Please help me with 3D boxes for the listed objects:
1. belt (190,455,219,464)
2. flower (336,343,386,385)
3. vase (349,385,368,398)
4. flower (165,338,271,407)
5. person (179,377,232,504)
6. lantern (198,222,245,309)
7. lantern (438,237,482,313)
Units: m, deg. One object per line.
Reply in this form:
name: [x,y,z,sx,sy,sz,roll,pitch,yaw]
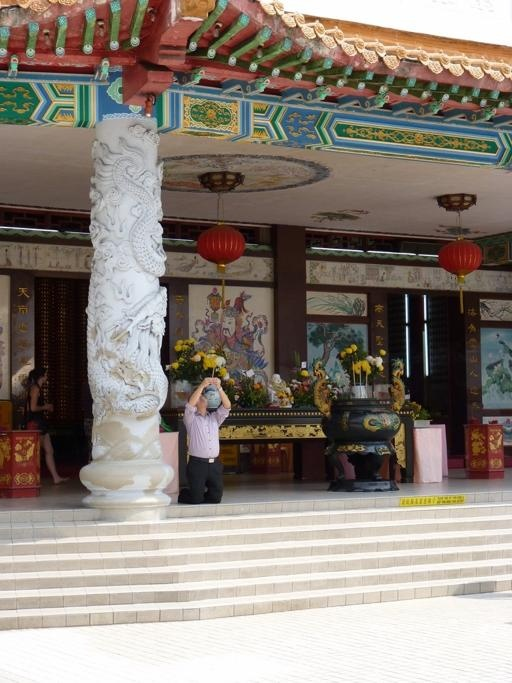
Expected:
belt: [-0.366,0.872,6.740,0.216,0.047,0.212,1,2,-4]
flower: [1.016,0.226,8.827,0.386,0.374,0.991,1,2,5]
vase: [0.916,0.442,8.118,0.153,0.100,0.125,1,2,4]
flower: [-0.330,0.308,8.489,1.045,0.571,0.727,5,4,-8]
person: [-0.368,0.724,6.696,0.344,0.884,0.490,1,2,-2]
lantern: [-0.288,-0.869,8.304,0.491,0.804,0.453,0,4,1]
lantern: [2.155,-0.693,9.756,0.395,0.758,1.981,2,2,12]
